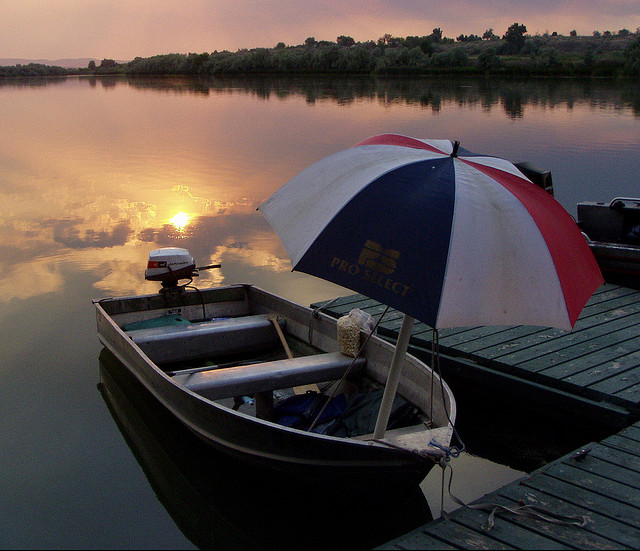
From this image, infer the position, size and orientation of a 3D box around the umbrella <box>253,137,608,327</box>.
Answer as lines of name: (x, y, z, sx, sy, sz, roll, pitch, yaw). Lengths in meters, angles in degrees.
umbrella: (0.538, -0.421, 2.747, 1.747, 0.538, 1.619, 6, 30, -7)

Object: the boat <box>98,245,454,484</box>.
boat: (-0.515, 0.652, 4.438, 1.481, 0.801, 3.656, -9, 17, -30)

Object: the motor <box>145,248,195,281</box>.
motor: (-1.549, -0.097, 5.589, 0.518, 0.277, 0.344, -7, 2, -12)
